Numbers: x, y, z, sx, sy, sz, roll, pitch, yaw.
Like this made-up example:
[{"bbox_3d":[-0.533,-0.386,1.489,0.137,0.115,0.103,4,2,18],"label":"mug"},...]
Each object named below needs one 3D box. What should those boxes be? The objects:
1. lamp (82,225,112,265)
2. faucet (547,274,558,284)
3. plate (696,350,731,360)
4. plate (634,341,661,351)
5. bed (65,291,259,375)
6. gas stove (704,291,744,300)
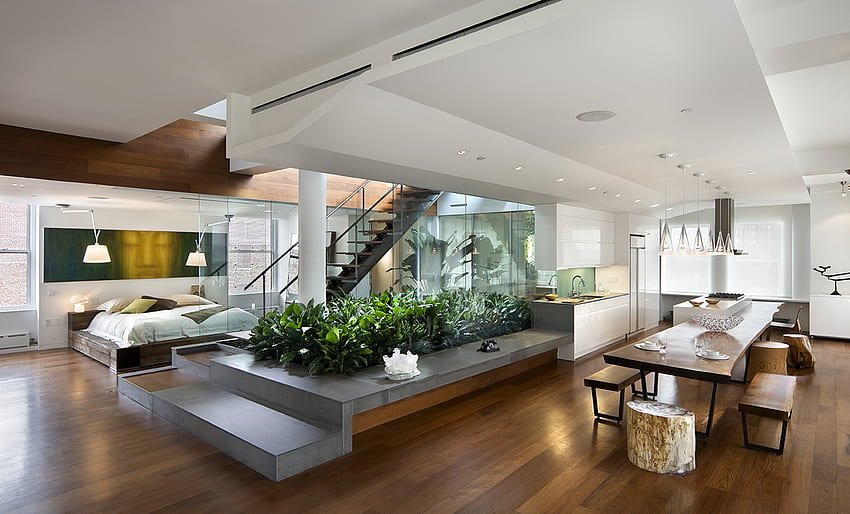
[{"bbox_3d":[-6.837,-0.256,10.415,0.505,0.733,0.583,-2,0,-32],"label":"lamp"},{"bbox_3d":[2.486,0.426,9.749,0.191,0.304,0.182,2,5,7],"label":"faucet"},{"bbox_3d":[3.545,1.206,6.158,0.339,0.110,0.181,-2,-1,26],"label":"plate"},{"bbox_3d":[2.943,1.170,6.646,0.287,0.109,0.299,-2,-1,14],"label":"plate"},{"bbox_3d":[-5.250,1.362,9.425,3.387,1.338,1.860,-2,-1,28],"label":"bed"},{"bbox_3d":[5.993,0.773,10.009,0.582,0.122,0.647,-2,-1,31],"label":"gas stove"}]
